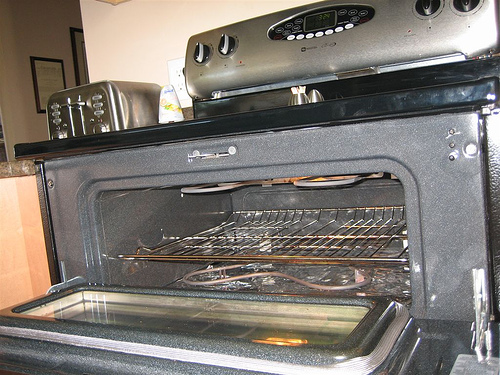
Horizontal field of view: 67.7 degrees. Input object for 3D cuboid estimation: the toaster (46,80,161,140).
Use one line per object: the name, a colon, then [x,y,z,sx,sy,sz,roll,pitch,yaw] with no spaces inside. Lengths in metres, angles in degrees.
toaster: [-0.572,-0.291,1.511,0.422,0.191,0.293,-4,6,31]
